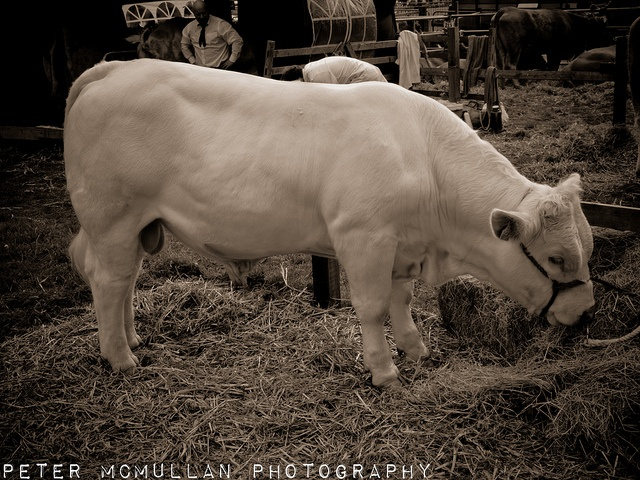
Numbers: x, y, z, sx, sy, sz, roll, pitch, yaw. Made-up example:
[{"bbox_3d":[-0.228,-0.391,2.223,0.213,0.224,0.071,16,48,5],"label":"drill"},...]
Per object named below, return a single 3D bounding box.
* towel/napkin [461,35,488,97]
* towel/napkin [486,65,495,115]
[{"bbox_3d":[2.870,-3.287,12.762,0.490,0.899,0.233,9,4,31],"label":"towel/napkin"},{"bbox_3d":[2.989,-2.573,11.826,0.148,0.798,0.213,9,22,26],"label":"towel/napkin"}]
